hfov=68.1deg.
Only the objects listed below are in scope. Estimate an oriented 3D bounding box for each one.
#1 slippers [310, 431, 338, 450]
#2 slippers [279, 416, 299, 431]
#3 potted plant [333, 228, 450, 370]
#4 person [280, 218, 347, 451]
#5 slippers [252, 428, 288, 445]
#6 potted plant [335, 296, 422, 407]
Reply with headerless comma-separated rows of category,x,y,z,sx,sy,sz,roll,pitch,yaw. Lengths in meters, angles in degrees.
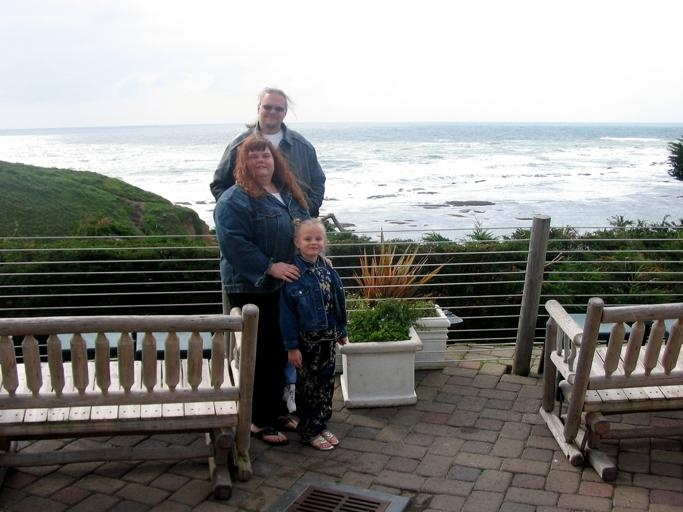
slippers,-0.103,1.263,3.445,0.101,0.048,0.159,0,-7,-40
slippers,-0.397,1.201,3.686,0.075,0.070,0.205,-5,11,-32
potted plant,0.356,0.493,4.625,1.011,1.137,1.034,-15,-23,20
person,-0.175,0.527,3.408,0.387,1.540,0.444,-1,16,8
slippers,-0.495,1.236,3.528,0.258,0.057,0.097,5,13,31
potted plant,0.325,0.775,4.071,0.608,0.723,0.533,-2,15,2
